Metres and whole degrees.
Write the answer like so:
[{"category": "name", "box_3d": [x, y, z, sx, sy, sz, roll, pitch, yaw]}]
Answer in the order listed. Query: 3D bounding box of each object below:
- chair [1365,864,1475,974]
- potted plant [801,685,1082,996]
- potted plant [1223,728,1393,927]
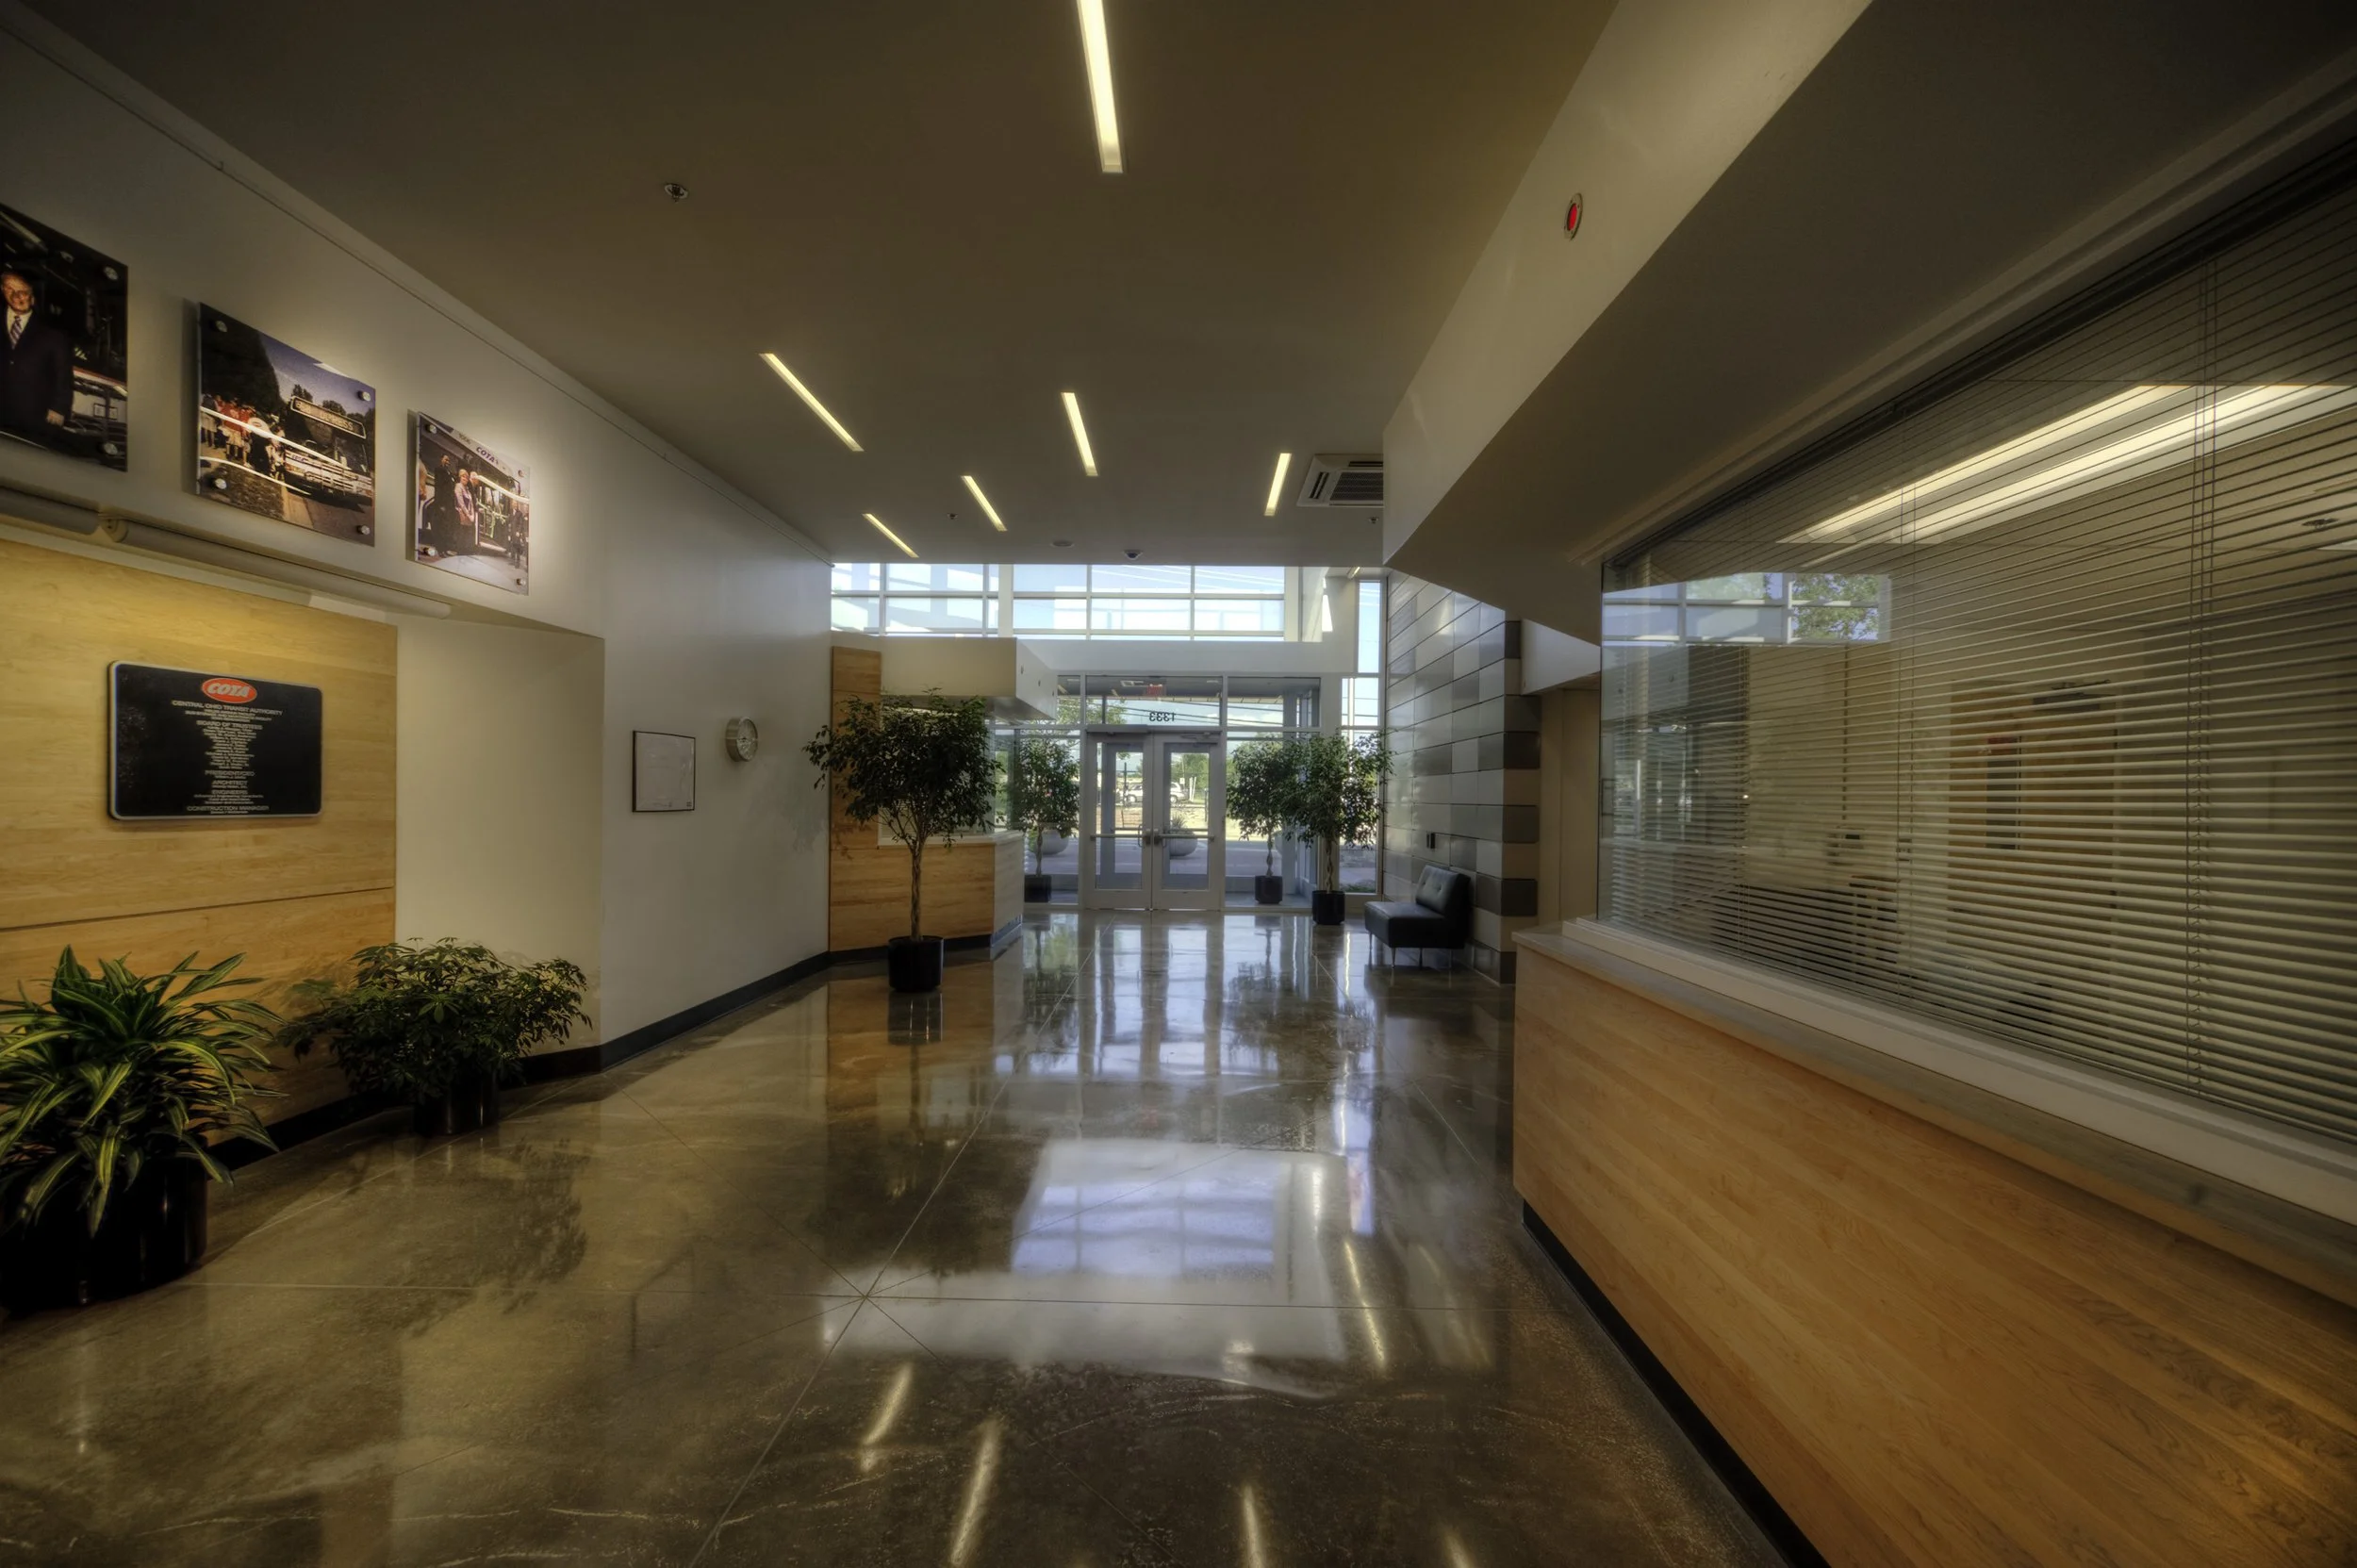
[{"category": "chair", "box_3d": [1.989, 1.274, 10.974, 0.655, 0.849, 1.238, 1, -4, -1]}, {"category": "potted plant", "box_3d": [-1.913, 0.420, 10.929, 2.238, 2.418, 1.905, 5, 13, 10]}, {"category": "potted plant", "box_3d": [1.429, 0.437, 14.368, 0.925, 1.882, 1.595, -2, 4, -44]}]
